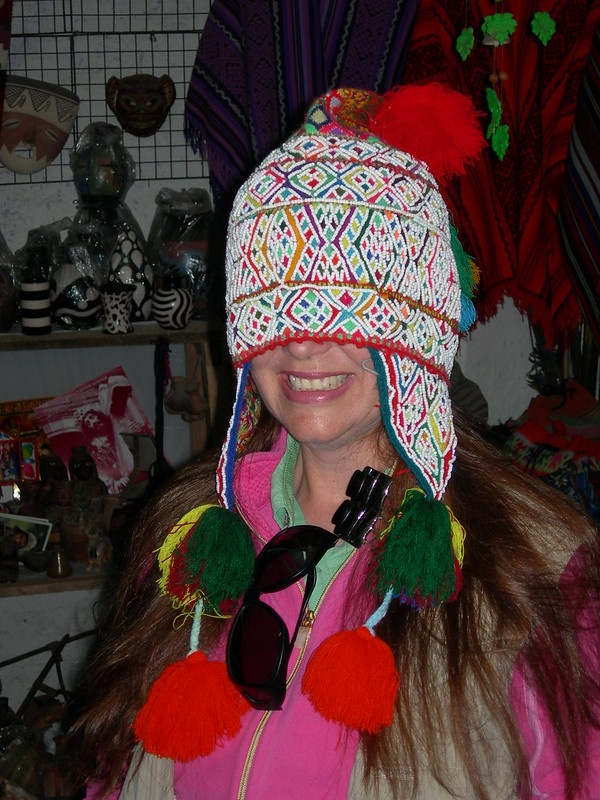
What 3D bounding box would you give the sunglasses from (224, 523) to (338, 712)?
[{"bbox_3d":[-0.030,0.235,0.759,0.088,0.200,0.117,14,25,20],"label":"sunglasses"}]
